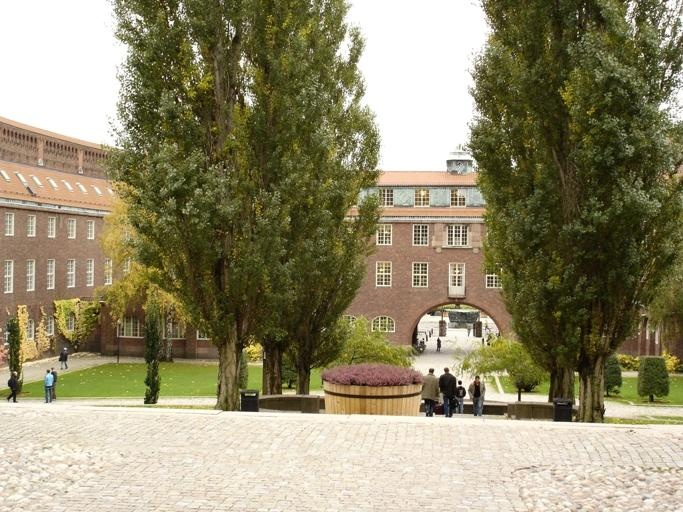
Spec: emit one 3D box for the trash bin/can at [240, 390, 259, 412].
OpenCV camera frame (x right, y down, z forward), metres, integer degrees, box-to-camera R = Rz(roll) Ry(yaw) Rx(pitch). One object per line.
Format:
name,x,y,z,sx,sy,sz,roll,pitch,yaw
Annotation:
trash bin/can,-2.497,3.907,21.503,0.468,0.560,0.613,1,-1,-12

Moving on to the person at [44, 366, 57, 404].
person,-12.340,5.465,33.636,0.403,1.518,1.782,1,-1,-22

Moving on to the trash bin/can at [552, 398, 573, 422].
trash bin/can,5.869,4.070,20.942,0.587,0.663,0.522,0,0,6
